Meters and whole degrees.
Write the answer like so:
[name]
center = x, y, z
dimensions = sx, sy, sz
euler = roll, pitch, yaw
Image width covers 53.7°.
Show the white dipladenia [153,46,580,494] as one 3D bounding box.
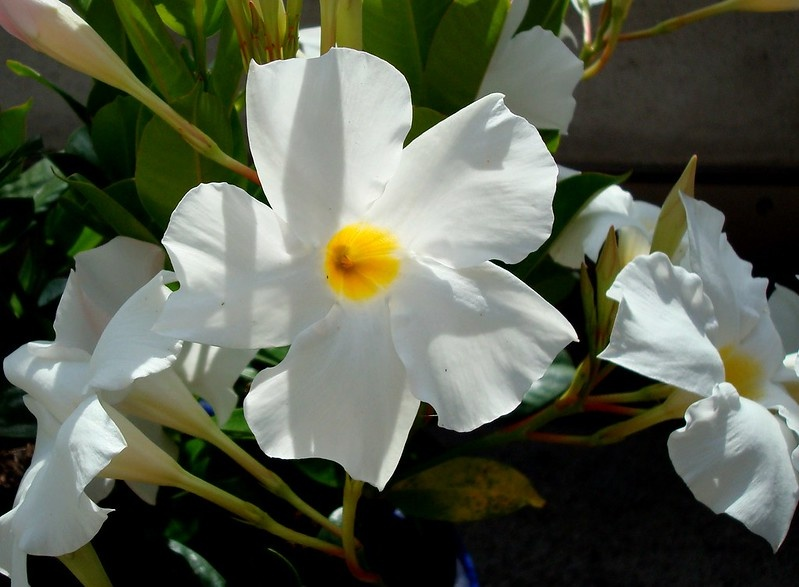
[white dipladenia]
center = -0.032, -0.012, 0.654
dimensions = 0.329, 0.094, 0.323
euler = -36, 78, -30
